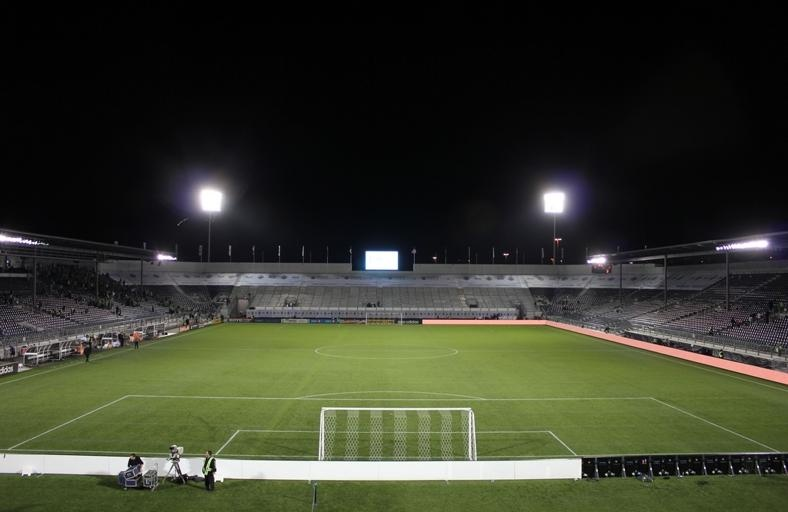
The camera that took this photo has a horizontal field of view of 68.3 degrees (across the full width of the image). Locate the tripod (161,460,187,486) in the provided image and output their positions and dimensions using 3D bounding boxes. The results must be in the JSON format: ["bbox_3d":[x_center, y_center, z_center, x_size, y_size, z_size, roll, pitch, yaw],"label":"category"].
[{"bbox_3d":[-9.415,9.387,25.033,1.090,0.919,0.389,1,9,7],"label":"tripod"}]

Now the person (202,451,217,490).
[{"bbox_3d":[-7.841,9.144,24.671,0.562,1.624,0.642,-2,9,-14],"label":"person"}]
